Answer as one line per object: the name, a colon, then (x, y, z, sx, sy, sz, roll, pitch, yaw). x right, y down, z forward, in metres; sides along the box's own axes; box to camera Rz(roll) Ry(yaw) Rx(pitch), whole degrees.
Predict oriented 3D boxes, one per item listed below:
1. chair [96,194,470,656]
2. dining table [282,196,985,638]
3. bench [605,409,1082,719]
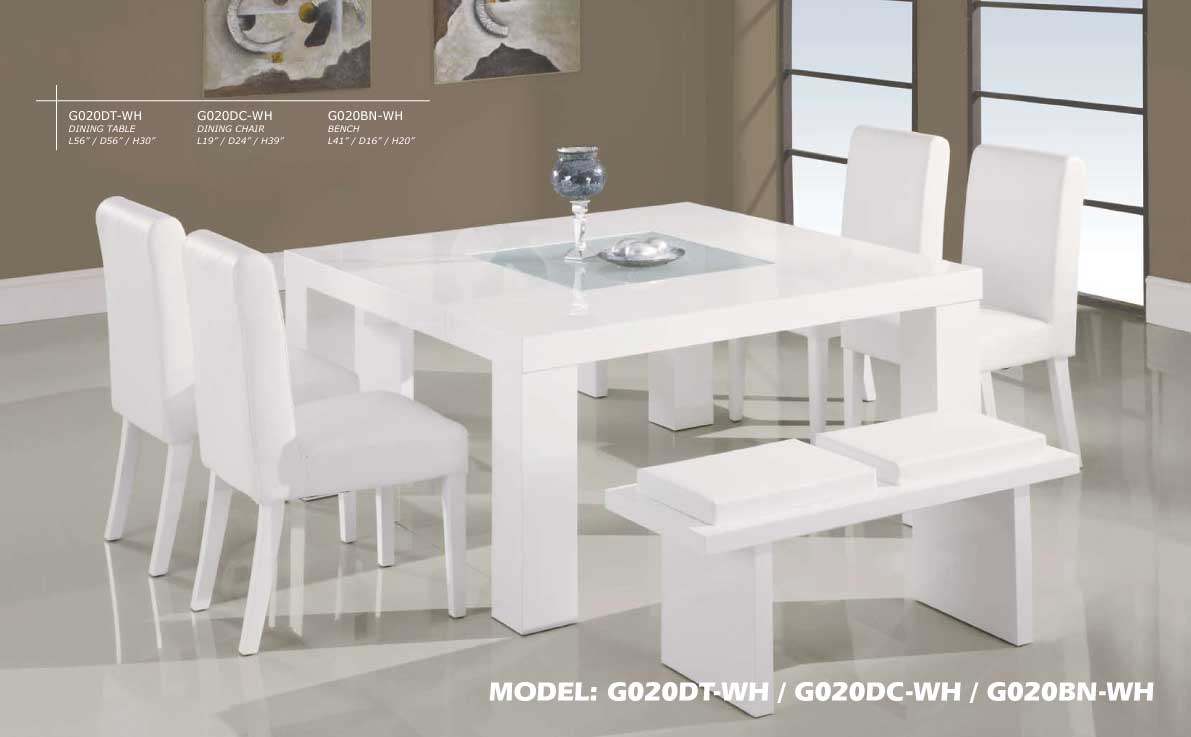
chair: (-1.148, 0.124, 3.355, 1.405, 1.319, 0.754, 16, 26, 40)
dining table: (-0.196, 0.074, 3.922, 1.852, 0.870, 1.864, -8, 14, -29)
bench: (0.731, 0.568, 2.991, 1.337, 0.691, 0.418, -7, 21, -17)
